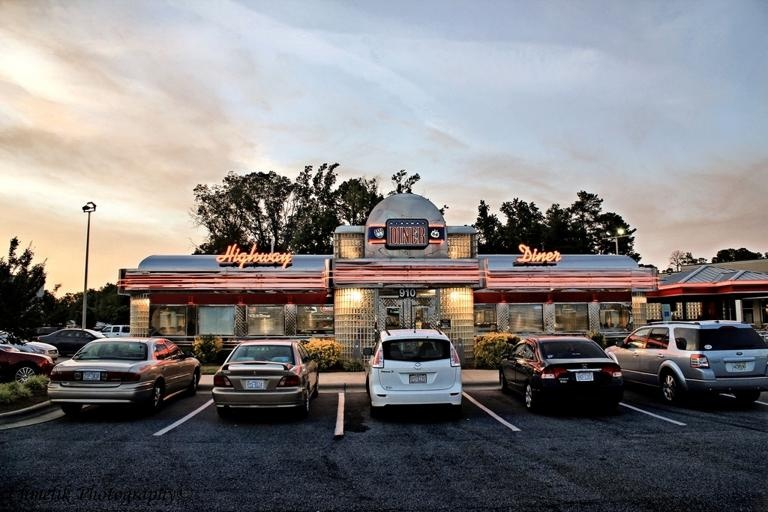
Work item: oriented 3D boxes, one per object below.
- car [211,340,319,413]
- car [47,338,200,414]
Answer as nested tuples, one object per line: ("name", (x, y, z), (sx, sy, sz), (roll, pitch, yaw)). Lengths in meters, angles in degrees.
("car", (-3.127, 3.265, 15.792), (2.232, 1.863, 2.376), (0, 2, 3))
("car", (-6.791, 3.200, 15.986), (2.002, 1.891, 3.575), (1, 2, 26))
